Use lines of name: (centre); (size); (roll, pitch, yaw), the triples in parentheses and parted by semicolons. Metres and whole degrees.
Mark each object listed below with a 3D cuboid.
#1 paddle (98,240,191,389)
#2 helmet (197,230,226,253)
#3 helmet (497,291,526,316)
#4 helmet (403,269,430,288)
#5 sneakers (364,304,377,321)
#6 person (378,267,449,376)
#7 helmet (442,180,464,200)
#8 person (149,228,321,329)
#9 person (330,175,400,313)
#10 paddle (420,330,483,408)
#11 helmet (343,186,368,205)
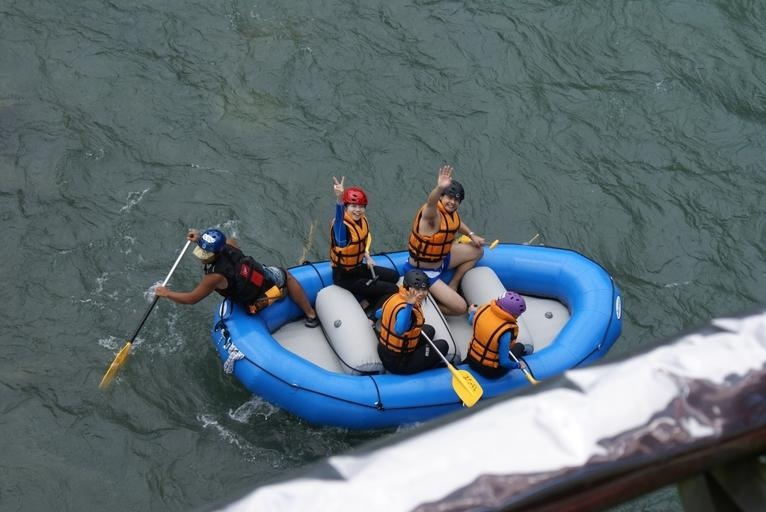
paddle: (-2.616, 0.650, 10.407); (0.137, 2.442, 0.153); (35, 34, -4)
helmet: (-1.867, -0.175, 10.136); (0.291, 0.183, 0.228); (3, 37, -8)
helmet: (1.366, 0.492, 9.951); (0.278, 0.256, 0.214); (8, 30, -50)
helmet: (0.356, 0.238, 9.971); (0.216, 0.222, 0.184); (-3, -1, 32)
sneakers: (-0.141, 0.645, 10.846); (0.117, 0.047, 0.195); (-57, 27, -10)
person: (0.327, 0.766, 10.250); (0.514, 0.872, 0.623); (-20, 49, -26)
helmet: (0.805, -0.717, 10.646); (0.168, 0.240, 0.202); (8, 32, -15)
person: (-1.552, 0.152, 10.488); (1.730, 0.721, 0.979); (11, 35, -1)
person: (-0.218, -0.080, 11.002); (0.675, 1.580, 0.768); (-2, 46, -2)
paddle: (0.744, 1.216, 10.102); (0.304, 0.055, 1.257); (-41, 54, 3)
helmet: (-0.325, -0.652, 10.377); (0.256, 0.195, 0.154); (5, 36, -6)
